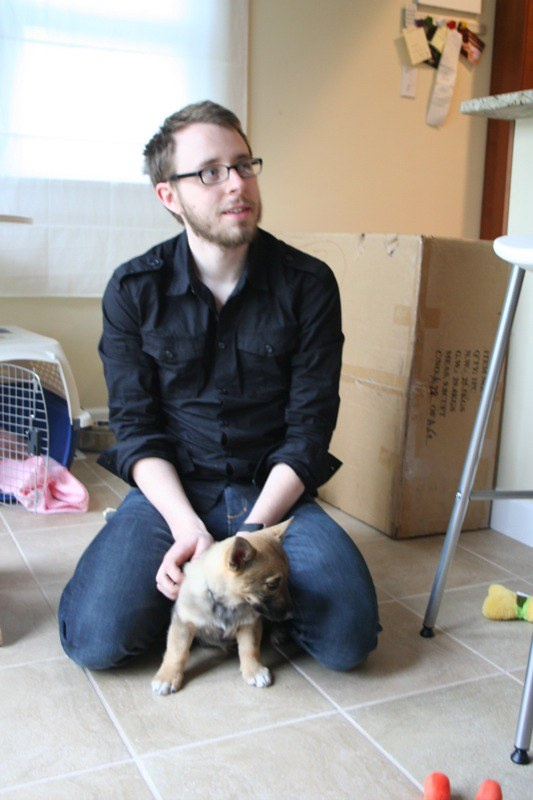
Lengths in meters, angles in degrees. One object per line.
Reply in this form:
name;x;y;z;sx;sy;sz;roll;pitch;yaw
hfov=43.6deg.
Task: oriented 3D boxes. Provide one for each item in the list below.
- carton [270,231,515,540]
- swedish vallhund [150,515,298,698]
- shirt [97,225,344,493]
carton;0.334;-0.130;2.338;0.367;0.835;0.990;-5;15;-26
swedish vallhund;-0.094;0.327;1.061;0.172;0.231;0.383;5;-11;-25
shirt;-0.079;-0.097;1.535;0.647;0.663;0.497;1;18;-5
